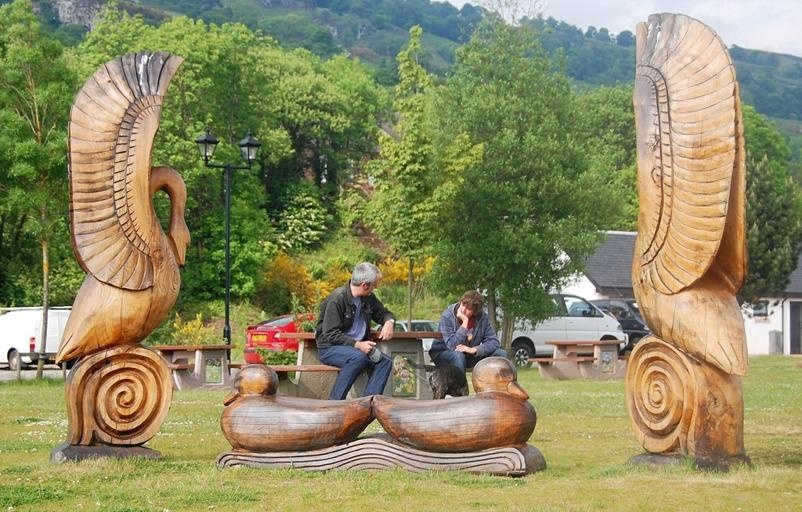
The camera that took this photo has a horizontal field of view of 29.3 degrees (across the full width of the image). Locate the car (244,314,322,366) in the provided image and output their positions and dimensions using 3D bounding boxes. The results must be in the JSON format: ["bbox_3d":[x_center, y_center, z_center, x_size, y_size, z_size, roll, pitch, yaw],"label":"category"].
[{"bbox_3d":[-4.548,2.902,54.410,2.092,1.959,4.284,6,1,-14],"label":"car"}]

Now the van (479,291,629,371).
[{"bbox_3d":[6.464,2.935,60.991,4.704,2.686,2.706,-2,-2,-14],"label":"van"}]

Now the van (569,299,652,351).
[{"bbox_3d":[9.701,2.792,65.059,4.585,2.289,2.475,3,-1,-5],"label":"van"}]
